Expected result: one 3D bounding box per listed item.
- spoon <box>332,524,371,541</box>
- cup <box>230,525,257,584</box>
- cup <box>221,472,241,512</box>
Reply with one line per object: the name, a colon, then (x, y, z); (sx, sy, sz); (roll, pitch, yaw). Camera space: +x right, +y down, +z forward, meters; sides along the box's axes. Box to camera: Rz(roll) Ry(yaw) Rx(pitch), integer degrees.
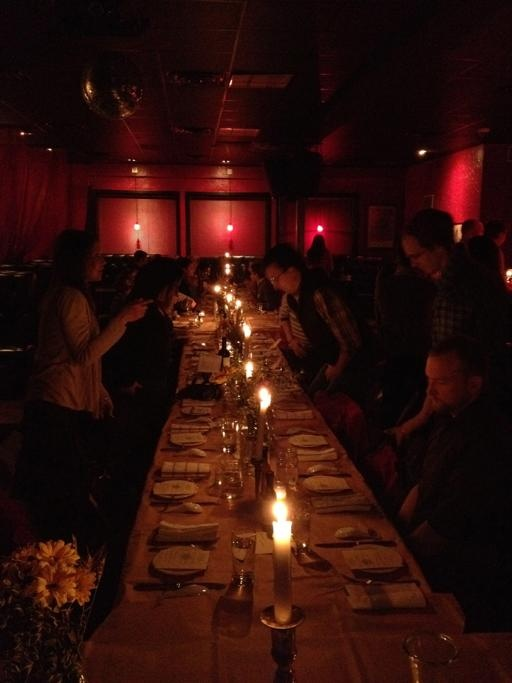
spoon: (0.275, 0.545, 1.552); (0.074, 0.017, 0.044); (5, 3, -4)
cup: (-0.030, 0.522, 1.330); (0.056, 0.127, 0.095); (5, 2, 1)
cup: (-0.080, 0.496, 1.841); (0.082, 0.140, 0.085); (0, 0, 0)
